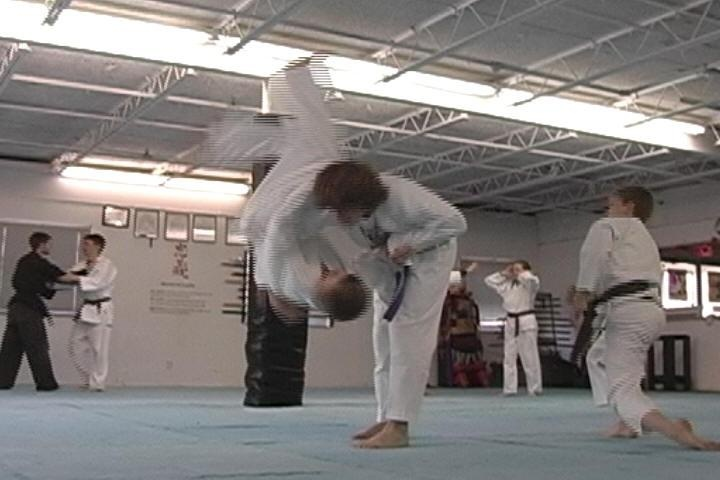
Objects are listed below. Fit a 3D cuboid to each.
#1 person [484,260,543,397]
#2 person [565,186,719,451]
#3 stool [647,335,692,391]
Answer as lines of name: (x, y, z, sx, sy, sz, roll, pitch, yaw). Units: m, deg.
person: (2.858, 1.608, 12.700, 0.912, 2.446, 1.114, -1, -16, 26)
person: (2.290, 0.577, 5.772, 0.925, 2.150, 0.483, 0, -16, 21)
stool: (7.426, 2.962, 16.437, 1.430, 1.572, 0.417, 2, -5, 5)
